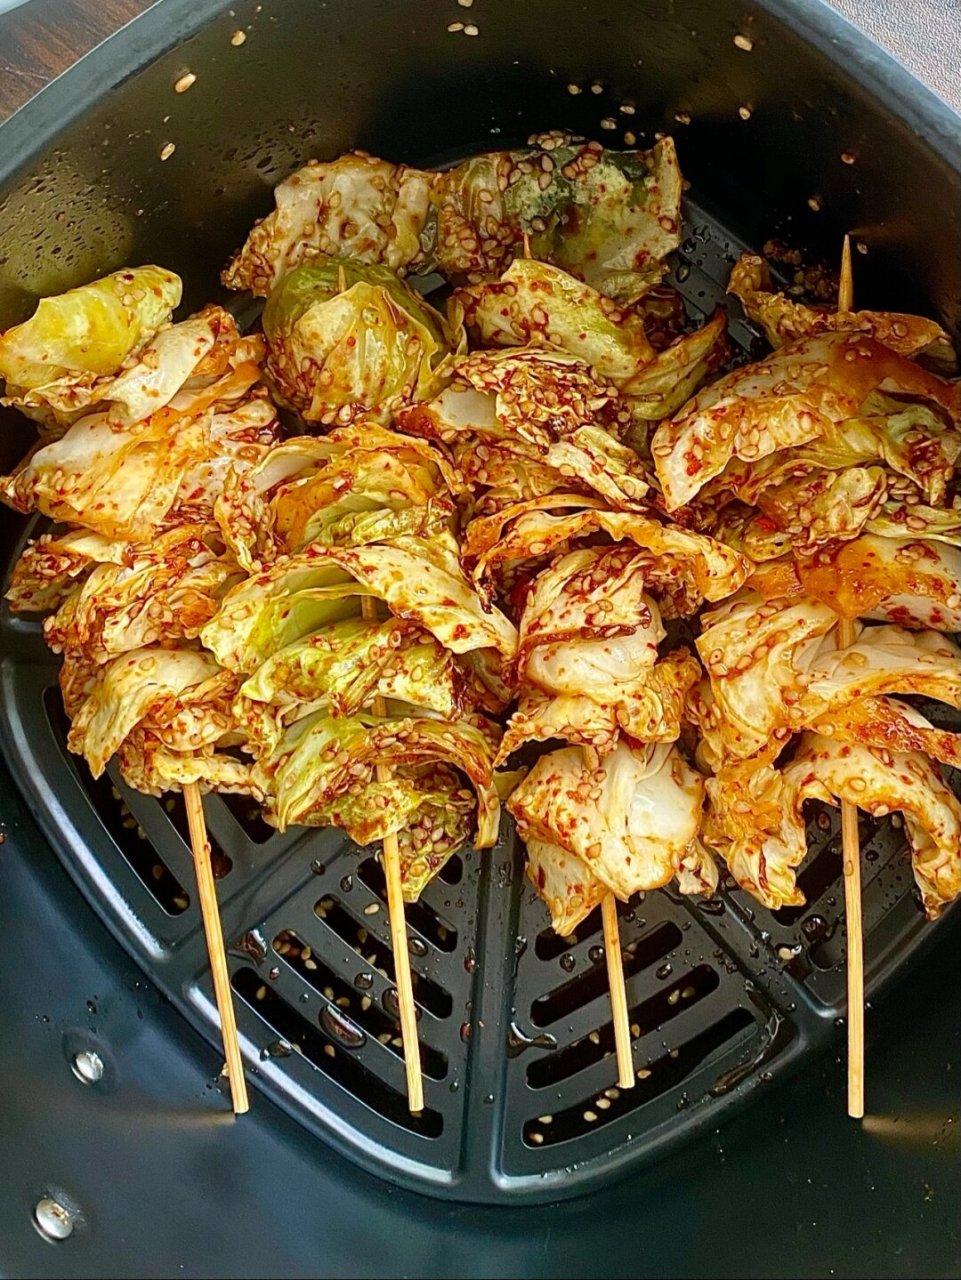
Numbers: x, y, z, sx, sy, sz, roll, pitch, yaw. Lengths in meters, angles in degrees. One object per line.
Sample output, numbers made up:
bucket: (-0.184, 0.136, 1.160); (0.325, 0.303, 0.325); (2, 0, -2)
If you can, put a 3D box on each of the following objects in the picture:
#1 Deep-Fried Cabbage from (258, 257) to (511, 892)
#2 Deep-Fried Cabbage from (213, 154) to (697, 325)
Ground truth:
Deep-Fried Cabbage: (-0.170, -0.148, 2.181); (0.544, 0.452, 0.895); (-5, 98, -1)
Deep-Fried Cabbage: (-0.042, -0.676, 2.102); (0.662, 0.171, 0.184); (-2, 70, 3)
